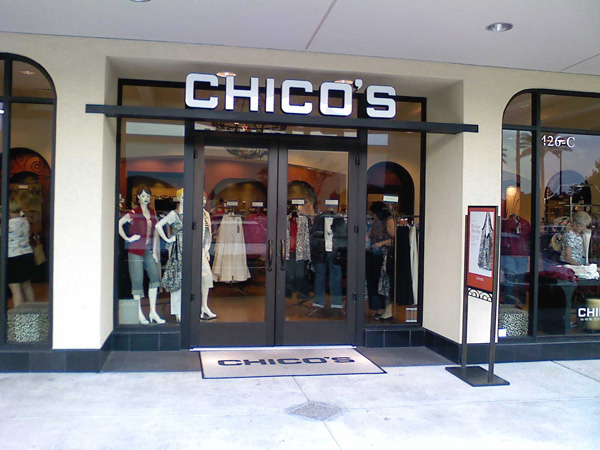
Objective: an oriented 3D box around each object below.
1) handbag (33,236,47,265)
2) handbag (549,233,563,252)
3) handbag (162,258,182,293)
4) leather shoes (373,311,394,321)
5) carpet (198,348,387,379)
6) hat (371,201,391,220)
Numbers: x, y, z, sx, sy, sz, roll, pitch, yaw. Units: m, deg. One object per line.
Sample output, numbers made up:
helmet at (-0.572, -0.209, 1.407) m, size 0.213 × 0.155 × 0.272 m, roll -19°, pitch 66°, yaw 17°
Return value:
handbag at (-3.055, 0.320, 6.118) m, size 0.112 × 0.387 × 0.172 m, roll -4°, pitch -25°, yaw -36°
handbag at (3.380, 0.239, 6.932) m, size 0.164 × 0.231 × 0.121 m, roll 22°, pitch 3°, yaw -13°
handbag at (-1.688, 0.631, 6.858) m, size 0.266 × 0.523 × 0.217 m, roll 7°, pitch -7°, yaw -38°
leather shoes at (1.152, 1.275, 7.241) m, size 0.259 × 0.102 × 0.092 m, roll 8°, pitch -8°, yaw -20°
carpet at (-0.172, 1.686, 6.462) m, size 2.137 × 0.290 × 0.958 m, roll -2°, pitch 1°, yaw -8°
hat at (1.104, -0.195, 7.203) m, size 0.287 × 0.299 × 0.174 m, roll 10°, pitch 3°, yaw -29°
